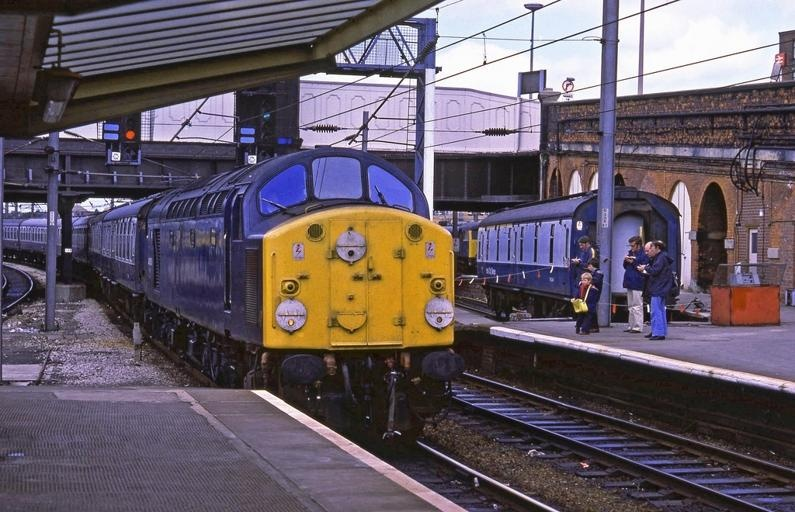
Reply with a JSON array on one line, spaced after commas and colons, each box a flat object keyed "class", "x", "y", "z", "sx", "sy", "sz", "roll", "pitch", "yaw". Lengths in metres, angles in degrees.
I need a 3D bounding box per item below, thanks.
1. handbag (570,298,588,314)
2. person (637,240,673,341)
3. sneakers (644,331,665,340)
[{"class": "handbag", "x": 4.186, "y": 1.151, "z": 21.258, "sx": 0.383, "sy": 0.386, "sz": 0.308, "roll": -1, "pitch": 2, "yaw": -7}, {"class": "person", "x": 5.641, "y": 0.771, "z": 19.979, "sx": 0.567, "sy": 2.157, "sz": 0.714, "roll": 1, "pitch": 2, "yaw": 14}, {"class": "sneakers", "x": 5.688, "y": 1.773, "z": 20.411, "sx": 0.138, "sy": 0.172, "sz": 0.408, "roll": 1, "pitch": -12, "yaw": -8}]
